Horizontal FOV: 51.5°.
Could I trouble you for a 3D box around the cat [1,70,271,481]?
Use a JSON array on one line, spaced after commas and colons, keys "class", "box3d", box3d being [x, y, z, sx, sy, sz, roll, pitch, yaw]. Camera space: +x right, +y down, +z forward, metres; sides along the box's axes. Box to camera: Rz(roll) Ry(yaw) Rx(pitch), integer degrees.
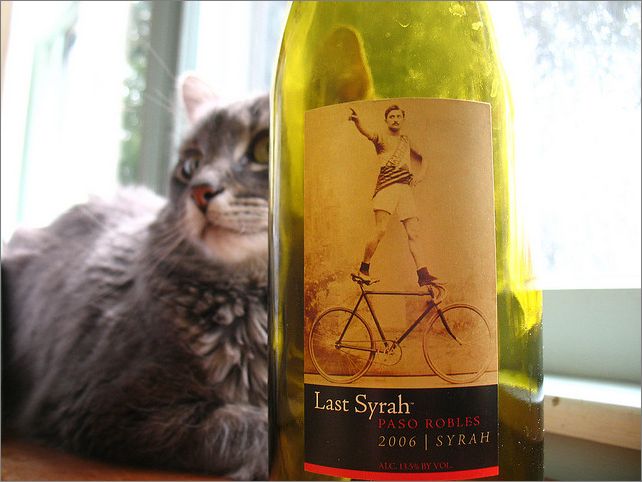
[{"class": "cat", "box3d": [-0.177, 0.081, 0.850, 0.382, 0.408, 0.304, -5, -24, 23]}]
